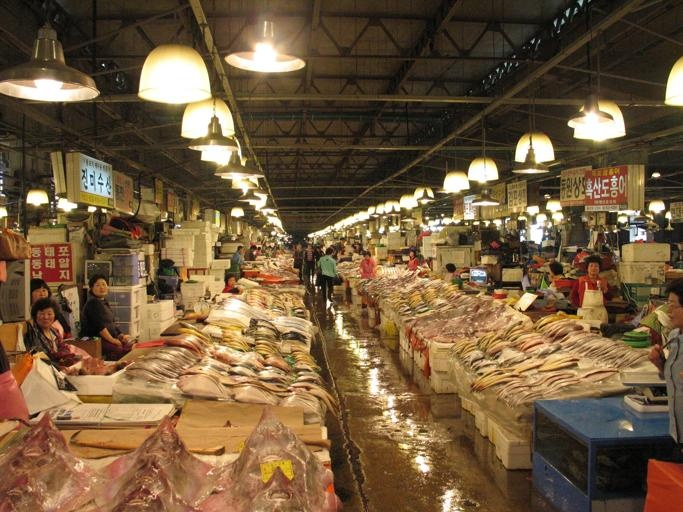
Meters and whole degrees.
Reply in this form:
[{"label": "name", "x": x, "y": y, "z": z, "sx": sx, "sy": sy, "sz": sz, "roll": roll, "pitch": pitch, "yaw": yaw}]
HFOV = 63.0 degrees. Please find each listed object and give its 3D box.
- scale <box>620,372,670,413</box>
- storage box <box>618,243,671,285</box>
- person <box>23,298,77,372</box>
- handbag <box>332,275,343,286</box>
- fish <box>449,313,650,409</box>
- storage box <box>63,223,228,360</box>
[{"label": "scale", "x": 2.509, "y": 1.119, "z": 4.589, "sx": 0.371, "sy": 0.136, "sz": 0.281, "roll": 0, "pitch": 8, "yaw": 3}, {"label": "storage box", "x": 5.415, "y": 0.140, "z": 9.976, "sx": 1.001, "sy": 0.940, "sz": 0.720, "roll": 0, "pitch": -1, "yaw": 3}, {"label": "person", "x": -3.179, "y": 0.791, "z": 6.029, "sx": 0.494, "sy": 0.645, "sz": 1.193, "roll": -4, "pitch": 4, "yaw": -30}, {"label": "handbag", "x": -0.138, "y": 0.962, "z": 22.070, "sx": 0.382, "sy": 0.352, "sz": 0.395, "roll": -5, "pitch": 0, "yaw": 15}, {"label": "fish", "x": 2.169, "y": 1.139, "z": 6.021, "sx": 1.497, "sy": 0.685, "sz": 2.147, "roll": -2, "pitch": 4, "yaw": -2}, {"label": "storage box", "x": -3.138, "y": 0.514, "z": 8.580, "sx": 1.136, "sy": 1.657, "sz": 1.878, "roll": 3, "pitch": 13, "yaw": 4}]
